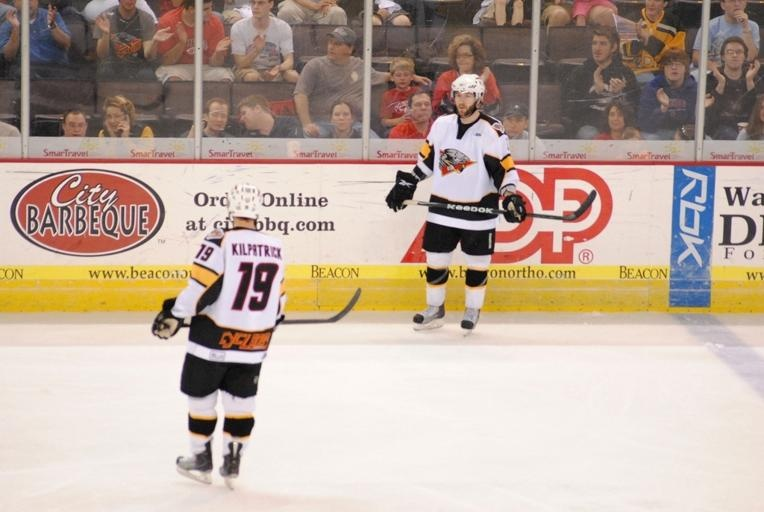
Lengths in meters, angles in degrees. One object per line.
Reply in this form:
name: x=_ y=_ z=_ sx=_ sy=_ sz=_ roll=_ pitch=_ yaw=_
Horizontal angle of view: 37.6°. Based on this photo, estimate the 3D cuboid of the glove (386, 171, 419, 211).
glove: x=0.186 y=-0.563 z=9.850 sx=0.291 sy=0.341 sz=0.111 roll=20 pitch=-1 yaw=-6

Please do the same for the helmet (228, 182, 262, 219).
helmet: x=-0.912 y=-0.374 z=7.650 sx=0.207 sy=0.218 sz=0.247 roll=2 pitch=10 yaw=-11

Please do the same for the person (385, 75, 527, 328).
person: x=0.669 y=-0.451 z=9.714 sx=1.134 sy=2.209 sz=0.505 roll=2 pitch=10 yaw=2

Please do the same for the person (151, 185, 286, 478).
person: x=-1.080 y=0.531 z=7.546 sx=0.855 sy=1.991 sz=0.425 roll=0 pitch=10 yaw=-5

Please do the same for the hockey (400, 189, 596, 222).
hockey: x=0.983 y=-0.448 z=9.912 sx=1.357 sy=0.224 sz=0.126 roll=3 pitch=51 yaw=10

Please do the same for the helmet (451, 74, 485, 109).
helmet: x=0.739 y=-1.443 z=9.646 sx=0.244 sy=0.247 sz=0.275 roll=2 pitch=8 yaw=19

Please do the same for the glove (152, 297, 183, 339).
glove: x=-1.433 y=0.430 z=7.637 sx=0.225 sy=0.275 sz=0.113 roll=20 pitch=12 yaw=-3

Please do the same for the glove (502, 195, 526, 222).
glove: x=1.142 y=-0.398 z=9.538 sx=0.202 sy=0.262 sz=0.192 roll=0 pitch=9 yaw=-7
